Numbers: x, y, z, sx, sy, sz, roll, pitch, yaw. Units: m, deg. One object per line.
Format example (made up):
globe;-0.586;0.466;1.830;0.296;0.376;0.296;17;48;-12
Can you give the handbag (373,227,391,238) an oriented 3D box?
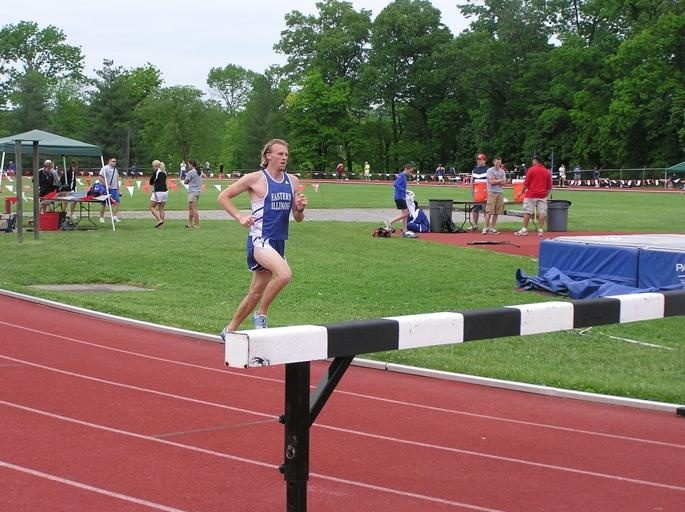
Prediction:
handbag;1.022;-0.561;20.273;0.305;0.193;0.459;0;2;4

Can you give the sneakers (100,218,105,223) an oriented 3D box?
sneakers;-7.119;-1.025;23.952;0.116;0.155;0.370;0;-4;-26

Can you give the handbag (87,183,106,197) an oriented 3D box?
handbag;-6.952;-1.840;22.869;0.381;0.219;0.579;16;16;-7

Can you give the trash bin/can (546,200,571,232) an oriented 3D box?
trash bin/can;6.010;-1.102;22.653;0.882;1.051;0.791;1;-3;-1

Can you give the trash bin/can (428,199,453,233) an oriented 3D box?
trash bin/can;2.576;-1.068;22.090;0.702;0.948;0.701;-2;0;-35

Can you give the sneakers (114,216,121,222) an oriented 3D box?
sneakers;-6.670;-1.029;23.800;0.093;0.106;0.269;16;4;9
